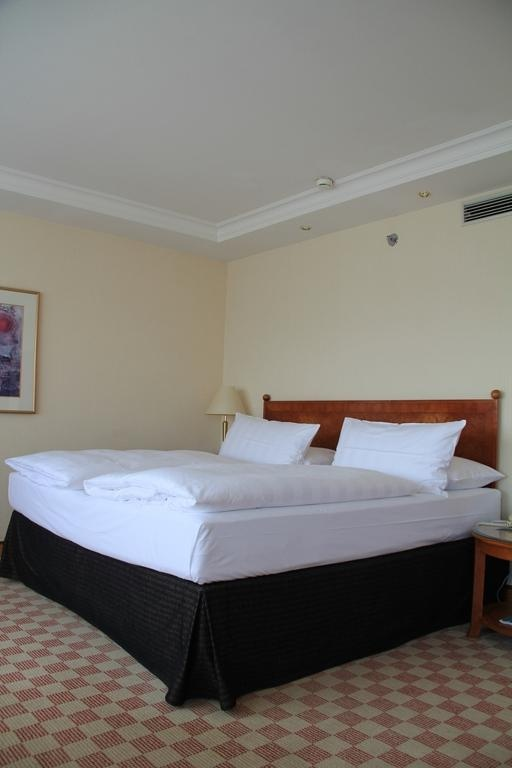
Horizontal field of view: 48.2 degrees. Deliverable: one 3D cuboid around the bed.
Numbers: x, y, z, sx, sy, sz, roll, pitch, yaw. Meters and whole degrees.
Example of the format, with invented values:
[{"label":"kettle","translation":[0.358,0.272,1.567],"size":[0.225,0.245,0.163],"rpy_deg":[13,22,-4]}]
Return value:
[{"label":"bed","translation":[0.185,0.621,2.504],"size":[1.584,0.928,1.536],"rpy_deg":[5,-5,-35]}]
